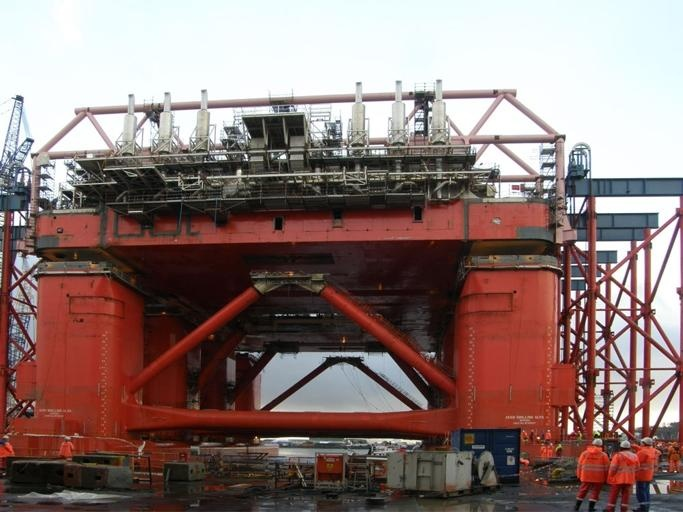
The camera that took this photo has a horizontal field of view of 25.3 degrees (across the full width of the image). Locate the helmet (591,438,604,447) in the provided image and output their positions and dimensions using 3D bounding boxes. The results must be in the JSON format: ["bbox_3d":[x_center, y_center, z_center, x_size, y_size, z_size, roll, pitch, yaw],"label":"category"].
[{"bbox_3d":[13.165,9.542,78.561,0.582,0.469,0.469,0,1,-21],"label":"helmet"}]

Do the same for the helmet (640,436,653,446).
[{"bbox_3d":[15.755,9.562,79.370,0.453,0.296,0.585,-17,23,-15],"label":"helmet"}]

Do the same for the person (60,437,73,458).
[{"bbox_3d":[-16.200,11.161,89.711,0.653,1.404,2.857,1,-11,-10],"label":"person"}]

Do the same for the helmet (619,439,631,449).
[{"bbox_3d":[14.496,9.594,78.225,0.485,0.296,0.593,2,-1,21],"label":"helmet"}]
